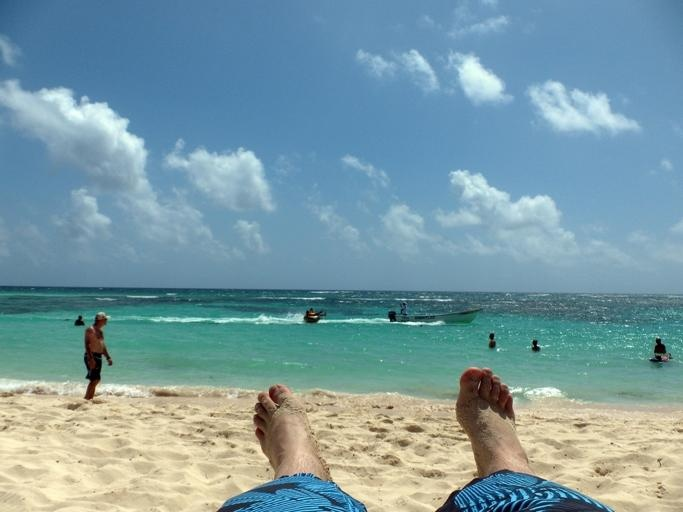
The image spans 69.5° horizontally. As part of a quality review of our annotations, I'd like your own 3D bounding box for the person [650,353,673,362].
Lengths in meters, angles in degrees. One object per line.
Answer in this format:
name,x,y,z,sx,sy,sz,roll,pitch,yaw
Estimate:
person,10.498,3.327,16.140,0.538,0.295,0.925,-1,-5,28
